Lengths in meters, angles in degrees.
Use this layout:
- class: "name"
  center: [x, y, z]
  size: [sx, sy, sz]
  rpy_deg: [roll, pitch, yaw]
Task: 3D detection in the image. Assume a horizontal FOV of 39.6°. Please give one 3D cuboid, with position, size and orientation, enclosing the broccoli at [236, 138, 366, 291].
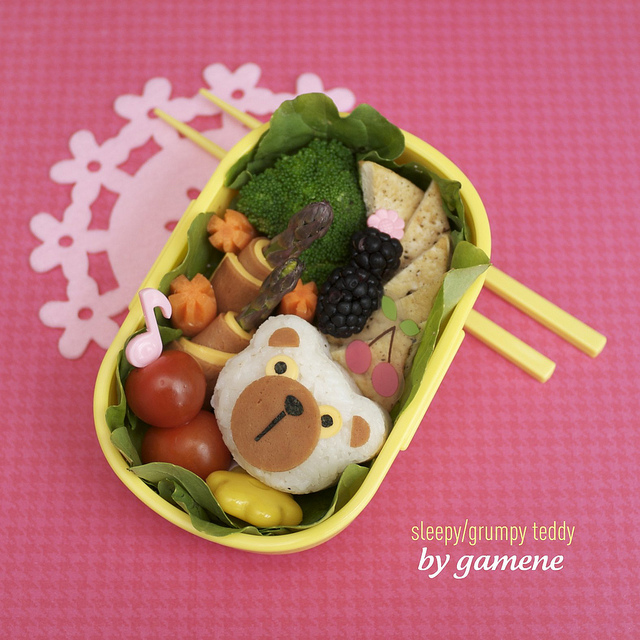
- class: "broccoli"
  center: [-0.038, -0.237, 1.791]
  size: [0.276, 0.297, 0.211]
  rpy_deg: [-4, 46, -2]

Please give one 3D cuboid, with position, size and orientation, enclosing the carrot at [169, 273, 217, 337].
- class: "carrot"
  center: [-0.243, -0.030, 1.714]
  size: [0.086, 0.067, 0.118]
  rpy_deg: [-4, 84, 0]

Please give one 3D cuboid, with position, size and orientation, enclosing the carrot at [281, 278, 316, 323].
- class: "carrot"
  center: [-0.037, -0.037, 1.774]
  size: [0.069, 0.078, 0.071]
  rpy_deg: [25, 65, 10]

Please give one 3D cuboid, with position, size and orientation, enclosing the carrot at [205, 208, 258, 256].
- class: "carrot"
  center: [-0.167, -0.167, 1.735]
  size: [0.080, 0.025, 0.094]
  rpy_deg: [-35, 96, -15]
